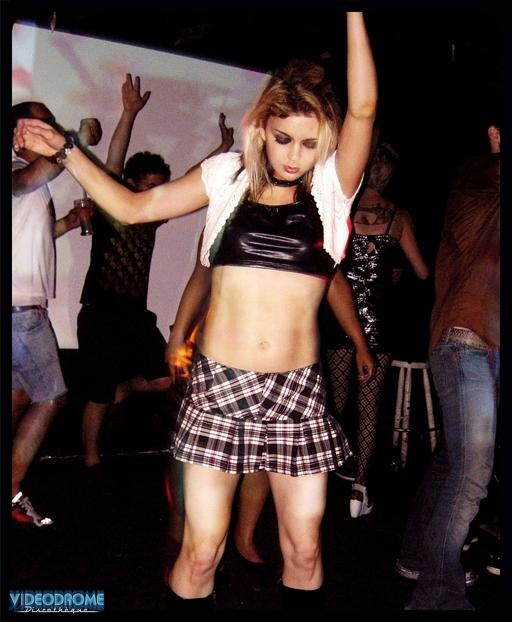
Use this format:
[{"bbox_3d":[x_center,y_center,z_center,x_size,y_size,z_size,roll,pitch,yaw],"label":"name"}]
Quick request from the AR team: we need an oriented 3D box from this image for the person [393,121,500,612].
[{"bbox_3d":[0.701,0.228,1.826,0.238,1.548,0.413,3,5,24],"label":"person"}]

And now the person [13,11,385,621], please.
[{"bbox_3d":[-0.053,0.082,1.377,0.698,1.439,0.371,3,5,18],"label":"person"}]

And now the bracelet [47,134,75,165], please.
[{"bbox_3d":[-0.461,-0.382,1.261,0.064,0.070,0.030,4,18,-36],"label":"bracelet"}]
